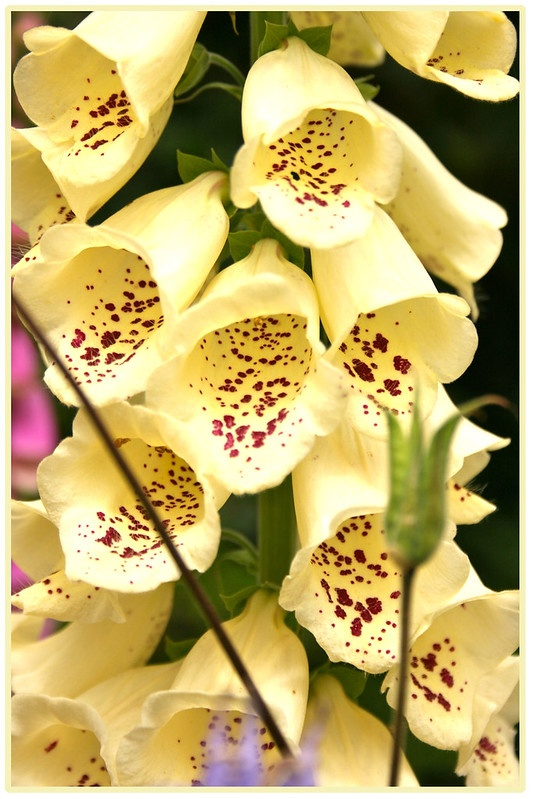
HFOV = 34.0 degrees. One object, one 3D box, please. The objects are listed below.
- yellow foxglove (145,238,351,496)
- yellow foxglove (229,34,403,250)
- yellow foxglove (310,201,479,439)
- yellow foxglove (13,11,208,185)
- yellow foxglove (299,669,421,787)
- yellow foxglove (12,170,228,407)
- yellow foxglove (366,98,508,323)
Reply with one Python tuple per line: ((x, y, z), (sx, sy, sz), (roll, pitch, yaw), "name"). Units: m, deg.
((-0.024, -0.039, 0.874), (0.186, 0.135, 0.271), (3, 49, 0), "yellow foxglove")
((0.033, -0.284, 0.872), (0.156, 0.107, 0.239), (-16, 55, -3), "yellow foxglove")
((0.136, -0.079, 0.995), (0.162, 0.139, 0.252), (-22, 77, 19), "yellow foxglove")
((-0.147, -0.347, 1.020), (0.163, 0.118, 0.258), (22, 61, 40), "yellow foxglove")
((0.095, 0.382, 1.006), (0.103, 0.107, 0.137), (10, 57, 6), "yellow foxglove")
((-0.111, -0.118, 0.971), (0.181, 0.123, 0.271), (27, 64, 30), "yellow foxglove")
((0.228, -0.228, 1.167), (0.125, 0.167, 0.305), (-33, 95, -7), "yellow foxglove")
